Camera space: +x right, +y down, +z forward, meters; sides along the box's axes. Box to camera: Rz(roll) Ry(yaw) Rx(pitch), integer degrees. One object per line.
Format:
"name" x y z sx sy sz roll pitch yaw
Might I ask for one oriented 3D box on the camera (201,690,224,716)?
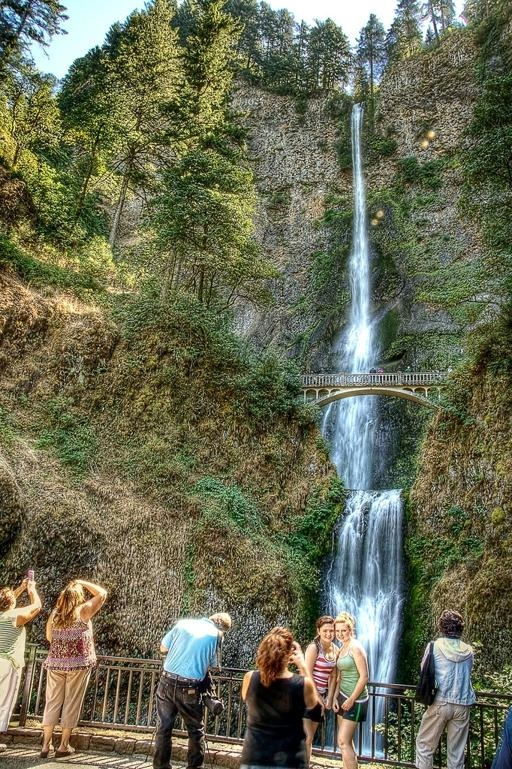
"camera" -0.449 3.274 6.682 0.179 0.120 0.312 28 -20 6

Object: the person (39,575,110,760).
"person" -2.098 3.143 7.210 0.609 1.885 0.707 12 -15 -12

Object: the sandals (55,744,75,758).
"sandals" -2.119 4.081 7.233 0.107 0.110 0.269 -5 -35 18

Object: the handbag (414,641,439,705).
"handbag" 1.803 3.052 6.844 0.211 0.640 0.285 5 -15 14
